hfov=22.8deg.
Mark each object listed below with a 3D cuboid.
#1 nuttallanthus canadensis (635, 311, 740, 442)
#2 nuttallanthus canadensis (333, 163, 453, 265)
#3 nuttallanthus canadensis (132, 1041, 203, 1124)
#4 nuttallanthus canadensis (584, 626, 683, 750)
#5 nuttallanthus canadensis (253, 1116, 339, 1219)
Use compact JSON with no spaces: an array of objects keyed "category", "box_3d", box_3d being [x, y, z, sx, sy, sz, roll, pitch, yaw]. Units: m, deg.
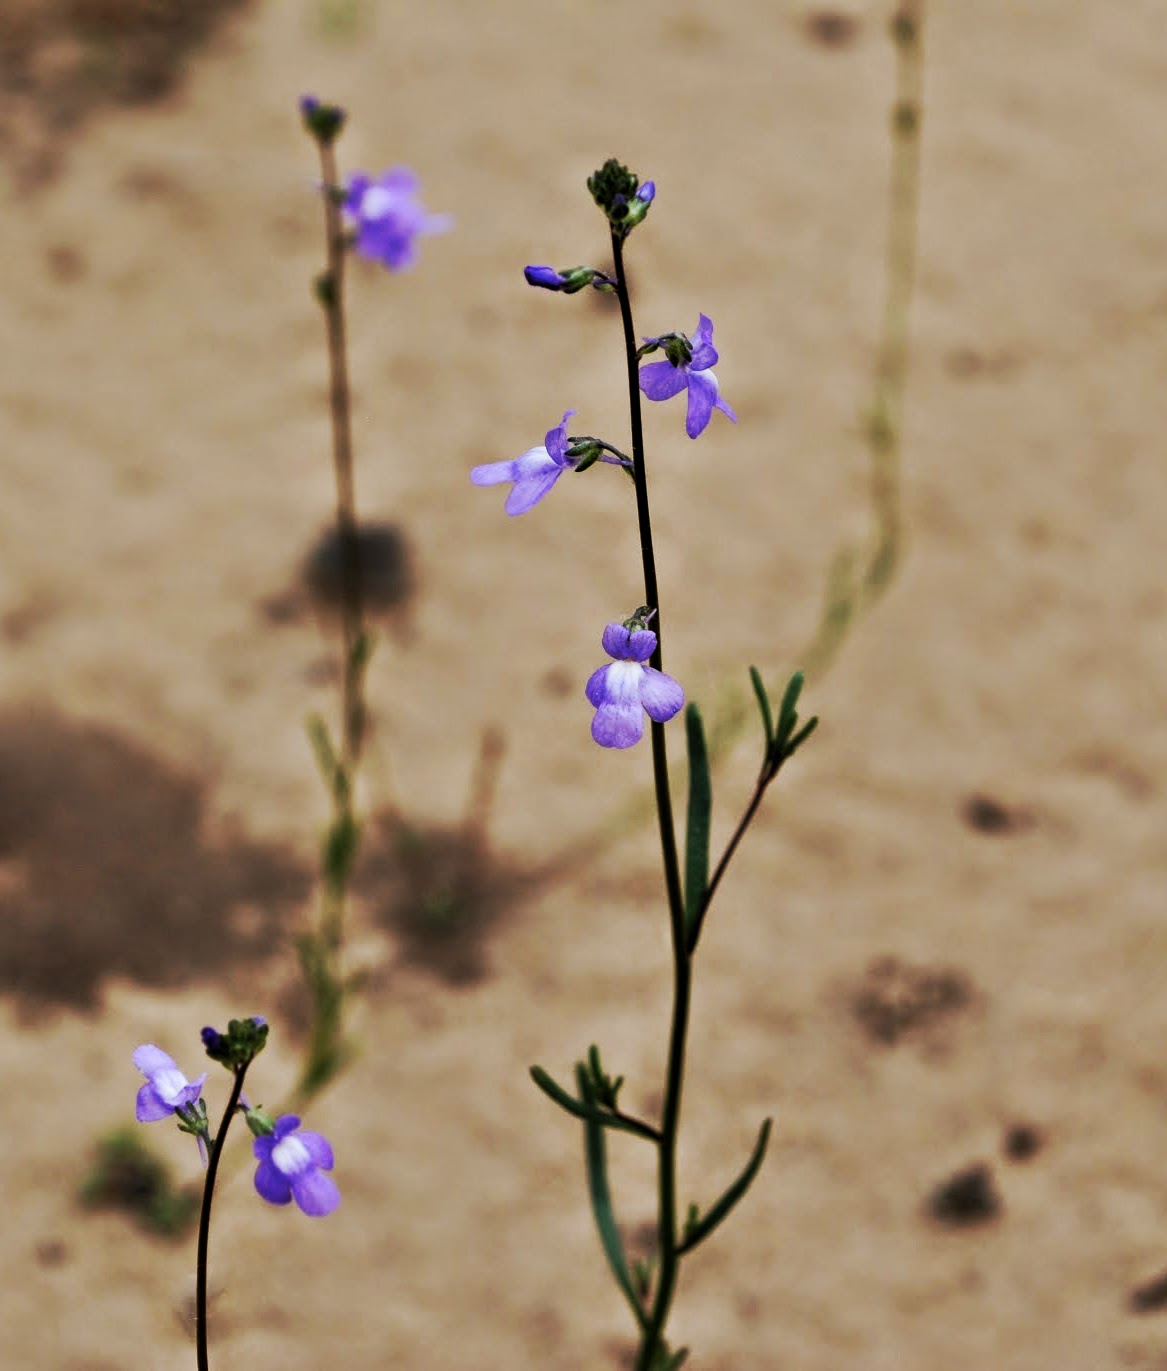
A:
[{"category":"nuttallanthus canadensis","box_3d":[0.071,-0.229,2.106,0.072,0.054,0.069,-26,14,-21]},{"category":"nuttallanthus canadensis","box_3d":[-0.155,-0.388,2.412,0.084,0.073,0.042,-15,22,-37]},{"category":"nuttallanthus canadensis","box_3d":[-0.316,0.308,2.181,0.044,0.054,0.063,-13,20,-31]},{"category":"nuttallanthus canadensis","box_3d":[0.032,-0.003,2.072,0.063,0.078,0.076,-4,17,-7]},{"category":"nuttallanthus canadensis","box_3d":[-0.221,0.361,2.168,0.060,0.077,0.027,-37,7,-16]}]
